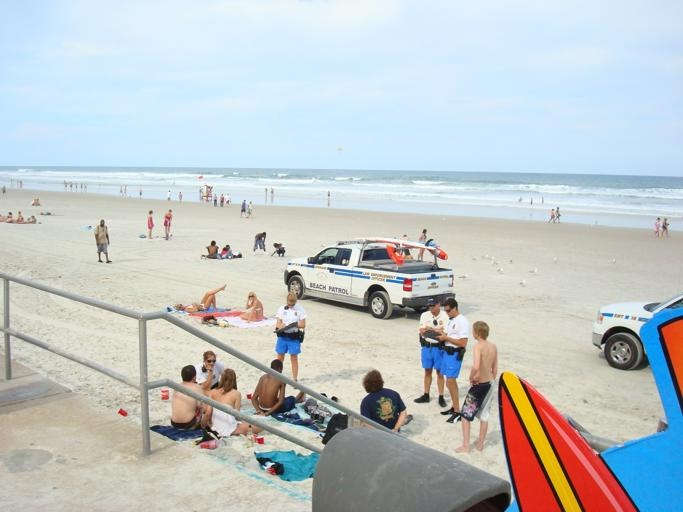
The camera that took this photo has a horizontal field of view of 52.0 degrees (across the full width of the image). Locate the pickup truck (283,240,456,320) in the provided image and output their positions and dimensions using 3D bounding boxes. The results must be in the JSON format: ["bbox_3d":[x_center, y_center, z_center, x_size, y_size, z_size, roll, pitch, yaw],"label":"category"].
[{"bbox_3d":[0.523,0.445,18.166,4.817,1.765,1.731,8,7,44],"label":"pickup truck"}]

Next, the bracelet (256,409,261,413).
[{"bbox_3d":[-1.217,2.266,10.241,0.040,0.018,0.066,2,6,-18],"label":"bracelet"}]

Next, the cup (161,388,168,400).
[{"bbox_3d":[-2.561,2.003,10.152,0.125,0.119,0.112,0,-6,-10],"label":"cup"}]

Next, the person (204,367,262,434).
[{"bbox_3d":[-1.449,1.953,9.319,0.656,0.685,0.982,2,6,-8],"label":"person"}]

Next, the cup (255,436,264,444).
[{"bbox_3d":[-1.028,2.325,8.755,0.071,0.091,0.129,-10,13,-24],"label":"cup"}]

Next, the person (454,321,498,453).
[{"bbox_3d":[1.901,1.798,9.678,0.441,1.731,0.642,4,6,12],"label":"person"}]

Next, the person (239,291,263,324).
[{"bbox_3d":[-2.029,1.160,16.030,0.594,0.773,0.637,3,-1,-8],"label":"person"}]

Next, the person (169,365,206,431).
[{"bbox_3d":[-2.004,1.806,9.127,0.406,0.743,0.698,2,6,-12],"label":"person"}]

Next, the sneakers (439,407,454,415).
[{"bbox_3d":[1.664,2.387,10.795,0.267,0.117,0.094,-2,-10,40],"label":"sneakers"}]

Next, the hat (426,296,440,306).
[{"bbox_3d":[1.767,0.858,13.622,0.199,0.280,0.265,6,-9,-13],"label":"hat"}]
